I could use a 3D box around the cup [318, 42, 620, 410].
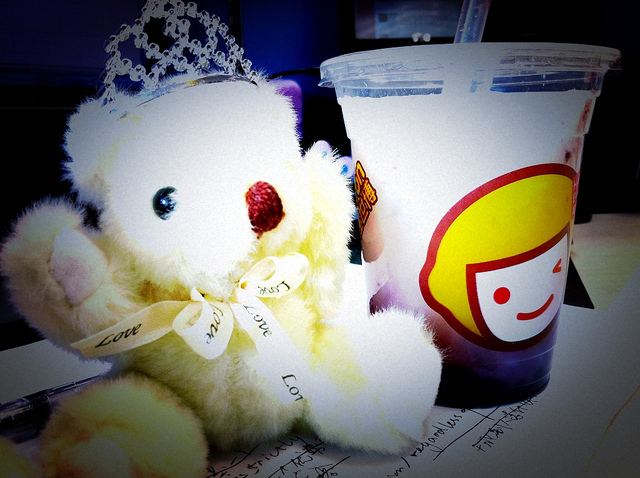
[{"bbox_3d":[0.164,-0.032,0.641,0.365,0.364,0.333,-2,3,0],"label":"cup"}]

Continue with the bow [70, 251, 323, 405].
[{"bbox_3d":[-0.086,0.093,0.490,0.213,0.048,0.133,-20,50,-41],"label":"bow"}]
